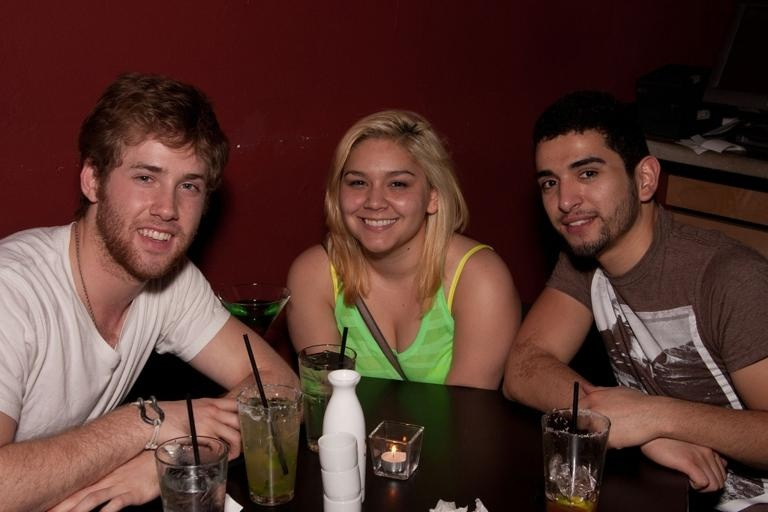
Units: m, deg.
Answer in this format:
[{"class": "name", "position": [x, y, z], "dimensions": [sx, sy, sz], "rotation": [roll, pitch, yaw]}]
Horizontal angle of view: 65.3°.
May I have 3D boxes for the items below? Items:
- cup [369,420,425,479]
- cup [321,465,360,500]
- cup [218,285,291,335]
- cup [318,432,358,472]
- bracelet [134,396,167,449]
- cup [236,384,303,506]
[{"class": "cup", "position": [0.031, 0.581, 1.879], "dimensions": [0.155, 0.152, 0.158], "rotation": [0, 8, 0]}, {"class": "cup", "position": [-0.115, 0.627, 1.673], "dimensions": [0.111, 0.083, 0.113], "rotation": [-7, -3, 0]}, {"class": "cup", "position": [-0.595, 0.208, 2.691], "dimensions": [0.257, 0.201, 0.274], "rotation": [1, 5, 0]}, {"class": "cup", "position": [-0.124, 0.520, 1.610], "dimensions": [0.091, 0.081, 0.097], "rotation": [-1, -9, 0]}, {"class": "bracelet", "position": [-0.758, 0.521, 1.957], "dimensions": [0.093, 0.043, 0.175], "rotation": [3, 44, -29]}, {"class": "cup", "position": [-0.346, 0.556, 1.810], "dimensions": [0.185, 0.313, 0.224], "rotation": [1, 4, -10]}]
